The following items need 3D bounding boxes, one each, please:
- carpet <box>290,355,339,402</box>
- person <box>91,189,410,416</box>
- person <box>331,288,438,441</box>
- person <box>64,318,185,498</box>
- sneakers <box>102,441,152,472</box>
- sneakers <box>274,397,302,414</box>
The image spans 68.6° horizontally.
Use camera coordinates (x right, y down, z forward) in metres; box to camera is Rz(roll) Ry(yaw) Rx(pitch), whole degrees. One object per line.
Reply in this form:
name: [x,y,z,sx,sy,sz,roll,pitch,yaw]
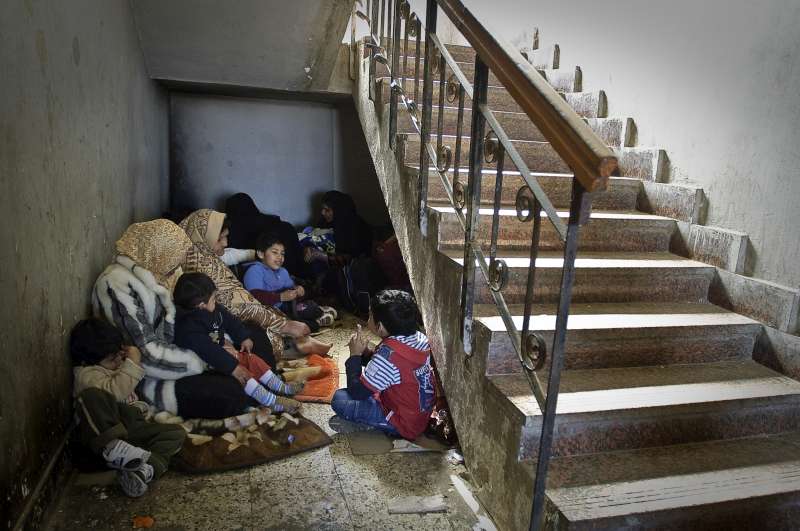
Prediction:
carpet: [-0.545,0.757,3.980,0.255,0.025,0.534,-2,21,1]
person: [-1.130,-0.041,3.707,1.212,0.812,1.552,13,13,-10]
person: [-0.106,0.594,3.583,0.631,0.850,0.585,3,11,-4]
person: [-1.468,0.715,3.134,0.597,0.832,0.452,8,16,40]
sneakers: [-1.380,0.955,2.980,0.208,0.101,0.130,13,34,11]
sneakers: [-0.687,0.850,3.570,0.168,0.071,0.065,4,22,-11]
